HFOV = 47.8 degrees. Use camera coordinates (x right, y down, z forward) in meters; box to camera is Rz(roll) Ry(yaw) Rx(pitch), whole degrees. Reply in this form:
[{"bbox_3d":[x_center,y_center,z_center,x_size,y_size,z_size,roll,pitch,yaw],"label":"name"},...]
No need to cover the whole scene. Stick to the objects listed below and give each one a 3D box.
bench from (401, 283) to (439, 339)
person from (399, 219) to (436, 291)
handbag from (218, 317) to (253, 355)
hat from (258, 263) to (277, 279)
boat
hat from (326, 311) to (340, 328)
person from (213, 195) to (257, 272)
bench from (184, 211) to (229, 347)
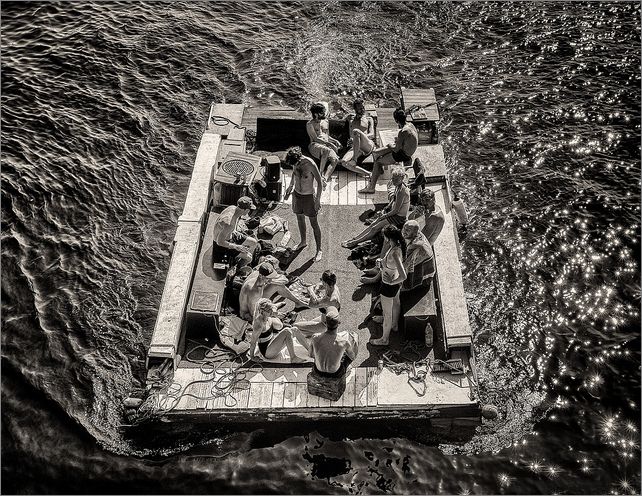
[{"bbox_3d":[2.971,2.241,22.221,1.210,1.440,2.128,-3,36,2],"label":"bench"},{"bbox_3d":[2.831,0.227,21.330,1.116,1.734,1.396,1,52,11],"label":"person"},{"bbox_3d":[-2.589,2.518,21.558,0.838,0.369,1.023,-26,51,-31],"label":"handbag"},{"bbox_3d":[-1.574,0.621,20.838,0.468,0.665,0.460,-19,78,-5],"label":"hat"},{"bbox_3d":[-1.731,-1.072,20.159,8.397,3.153,9.480,2,55,1],"label":"boat"},{"bbox_3d":[0.290,1.881,19.343,0.419,0.508,0.401,1,92,-3],"label":"hat"},{"bbox_3d":[-2.747,-0.393,22.713,1.213,2.125,1.269,-5,61,-22],"label":"person"},{"bbox_3d":[-3.479,0.408,23.364,1.229,1.157,5.273,6,45,-1],"label":"bench"}]
